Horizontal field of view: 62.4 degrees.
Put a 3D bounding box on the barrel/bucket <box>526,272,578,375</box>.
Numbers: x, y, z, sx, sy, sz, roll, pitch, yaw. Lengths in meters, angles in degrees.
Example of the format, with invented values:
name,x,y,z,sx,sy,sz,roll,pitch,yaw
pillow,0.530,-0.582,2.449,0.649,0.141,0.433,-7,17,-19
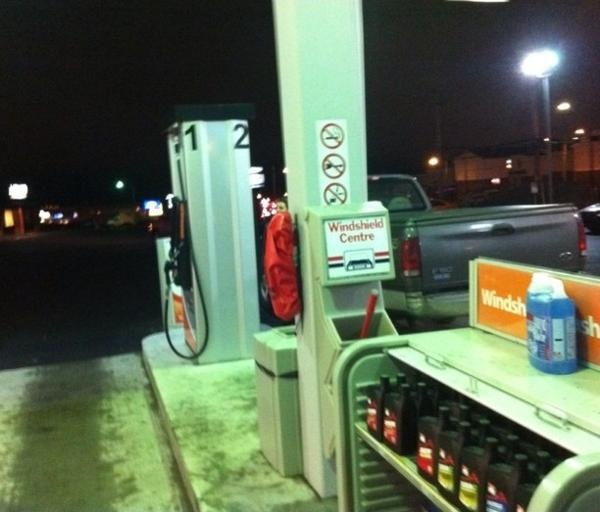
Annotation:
name,x,y,z,sx,sy,sz,roll,pitch,yaw
barrel/bucket,1.015,0.271,2.004,0.180,0.396,0.133,-1,5,29

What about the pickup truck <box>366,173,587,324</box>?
name,x,y,z,sx,sy,sz,roll,pitch,yaw
pickup truck,1.858,-0.280,6.724,1.587,1.349,2.680,-3,10,-14

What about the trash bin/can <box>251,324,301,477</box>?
name,x,y,z,sx,sy,sz,roll,pitch,yaw
trash bin/can,-0.140,1.137,3.899,0.279,1.035,0.543,-5,4,-23
